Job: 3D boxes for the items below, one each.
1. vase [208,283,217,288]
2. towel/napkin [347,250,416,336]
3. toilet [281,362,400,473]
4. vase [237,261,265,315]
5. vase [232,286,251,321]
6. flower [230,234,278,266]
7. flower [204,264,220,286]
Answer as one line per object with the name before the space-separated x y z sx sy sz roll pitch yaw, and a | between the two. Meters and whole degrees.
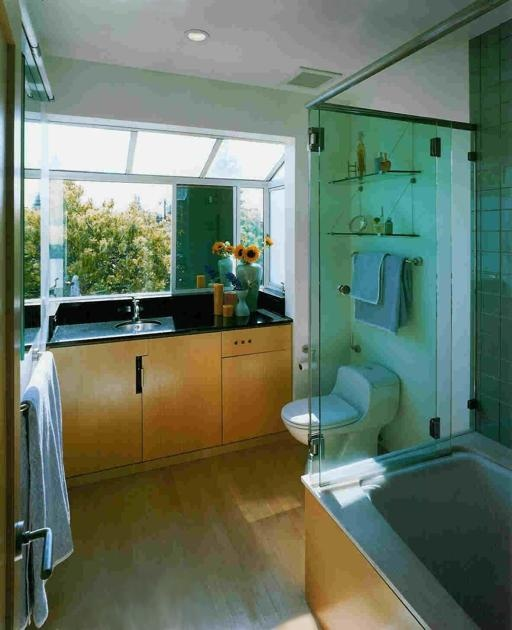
vase | -0.318 -0.217 3.685 0.043 0.052 0.045 3 6 37
towel/napkin | 0.408 -0.079 1.625 0.073 0.270 0.219 -3 6 -29
toilet | 0.299 0.352 1.830 0.343 0.385 0.233 -11 25 -12
vase | -0.037 -0.223 3.597 0.238 0.543 0.275 0 4 -2
vase | -0.096 -0.075 3.455 0.145 0.272 0.127 4 4 31
flower | 0.000 -0.455 3.687 0.201 0.183 0.274 3 13 41
flower | -0.319 -0.303 3.732 0.051 0.154 0.073 -21 3 15
